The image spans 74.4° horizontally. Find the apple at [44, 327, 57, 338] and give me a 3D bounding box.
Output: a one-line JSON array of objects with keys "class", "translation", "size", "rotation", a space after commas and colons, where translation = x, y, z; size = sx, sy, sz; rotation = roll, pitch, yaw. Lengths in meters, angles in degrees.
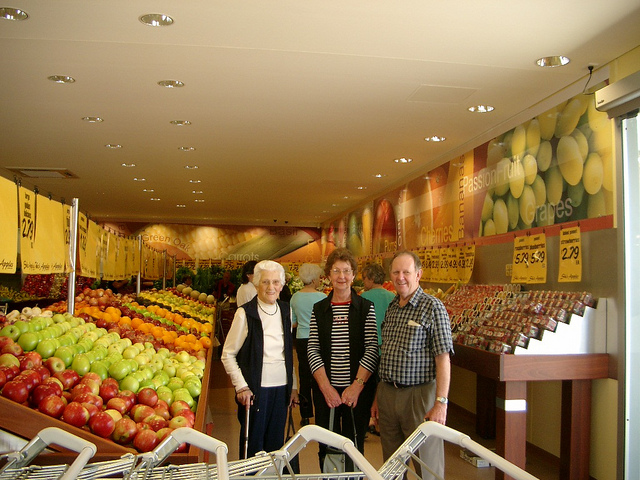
[{"class": "apple", "translation": [-1.591, 0.553, 2.506], "size": [0.065, 0.022, 0.066], "rotation": [47, -8, 41]}]

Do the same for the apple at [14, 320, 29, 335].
[{"class": "apple", "translation": [-1.652, 0.491, 2.355], "size": [0.060, 0.057, 0.060], "rotation": [0, 8, -15]}]

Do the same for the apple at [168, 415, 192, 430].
[{"class": "apple", "translation": [-0.646, 0.856, 1.956], "size": [0.093, 0.051, 0.153], "rotation": [0, -5, -2]}]

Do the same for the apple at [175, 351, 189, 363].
[{"class": "apple", "translation": [-0.962, 0.822, 2.961], "size": [0.056, 0.057, 0.057], "rotation": [-2, 10, -13]}]

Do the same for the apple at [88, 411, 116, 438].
[{"class": "apple", "translation": [-0.923, 0.791, 1.799], "size": [0.095, 0.095, 0.094], "rotation": [46, -6, -30]}]

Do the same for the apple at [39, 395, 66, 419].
[{"class": "apple", "translation": [-1.154, 0.729, 1.838], "size": [0.106, 0.092, 0.071], "rotation": [-2, -6, 22]}]

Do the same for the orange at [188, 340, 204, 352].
[{"class": "orange", "translation": [-1.072, 0.921, 3.657], "size": [0.096, 0.058, 0.077], "rotation": [-2, -1, 3]}]

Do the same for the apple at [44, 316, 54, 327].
[{"class": "apple", "translation": [-1.712, 0.520, 2.688], "size": [0.051, 0.055, 0.050], "rotation": [6, 12, 9]}]

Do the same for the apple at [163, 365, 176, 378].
[{"class": "apple", "translation": [-0.925, 0.815, 2.622], "size": [0.062, 0.065, 0.061], "rotation": [7, -26, 11]}]

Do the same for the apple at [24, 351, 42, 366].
[{"class": "apple", "translation": [-1.441, 0.602, 2.148], "size": [0.064, 0.066, 0.066], "rotation": [-1, -1, 2]}]

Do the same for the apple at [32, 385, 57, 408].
[{"class": "apple", "translation": [-1.210, 0.693, 1.874], "size": [0.079, 0.080, 0.079], "rotation": [-2, -27, -18]}]

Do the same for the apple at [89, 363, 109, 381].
[{"class": "apple", "translation": [-1.167, 0.703, 2.273], "size": [0.087, 0.074, 0.073], "rotation": [37, -60, -24]}]

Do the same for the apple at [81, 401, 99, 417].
[{"class": "apple", "translation": [-1.015, 0.752, 1.882], "size": [0.057, 0.034, 0.046], "rotation": [16, 12, 40]}]

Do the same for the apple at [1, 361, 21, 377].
[{"class": "apple", "translation": [-1.449, 0.608, 1.989], "size": [0.079, 0.060, 0.097], "rotation": [3, -6, -33]}]

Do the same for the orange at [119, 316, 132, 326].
[{"class": "orange", "translation": [-1.694, 0.703, 3.697], "size": [0.064, 0.066, 0.078], "rotation": [34, 31, 20]}]

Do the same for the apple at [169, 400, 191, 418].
[{"class": "apple", "translation": [-0.703, 0.854, 2.130], "size": [0.071, 0.073, 0.072], "rotation": [12, -30, -2]}]

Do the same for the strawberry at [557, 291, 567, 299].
[{"class": "strawberry", "translation": [1.963, 0.449, 3.426], "size": [0.021, 0.054, 0.053], "rotation": [39, -17, -21]}]

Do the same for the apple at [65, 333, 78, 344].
[{"class": "apple", "translation": [-1.470, 0.591, 2.516], "size": [0.054, 0.029, 0.056], "rotation": [2, -20, 14]}]

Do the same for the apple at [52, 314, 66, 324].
[{"class": "apple", "translation": [-1.742, 0.521, 2.838], "size": [0.057, 0.052, 0.051], "rotation": [9, 29, 19]}]

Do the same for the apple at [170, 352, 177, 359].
[{"class": "apple", "translation": [-1.033, 0.811, 2.993], "size": [0.031, 0.027, 0.026], "rotation": [1, -14, 27]}]

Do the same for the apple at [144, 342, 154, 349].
[{"class": "apple", "translation": [-1.166, 0.717, 2.892], "size": [0.041, 0.043, 0.042], "rotation": [-13, 7, -31]}]

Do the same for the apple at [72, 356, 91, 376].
[{"class": "apple", "translation": [-1.264, 0.676, 2.253], "size": [0.080, 0.105, 0.086], "rotation": [6, -19, -37]}]

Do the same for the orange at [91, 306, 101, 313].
[{"class": "orange", "translation": [-2.011, 0.634, 3.808], "size": [0.061, 0.064, 0.059], "rotation": [31, -6, -26]}]

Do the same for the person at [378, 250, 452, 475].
[{"class": "person", "translation": [0.555, 0.720, 2.600], "size": [0.223, 1.307, 0.559], "rotation": [4, -6, -36]}]

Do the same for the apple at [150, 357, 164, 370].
[{"class": "apple", "translation": [-1.014, 0.775, 2.636], "size": [0.055, 0.060, 0.059], "rotation": [8, 5, -13]}]

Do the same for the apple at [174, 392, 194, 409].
[{"class": "apple", "translation": [-0.720, 0.862, 2.286], "size": [0.069, 0.068, 0.073], "rotation": [19, -18, 26]}]

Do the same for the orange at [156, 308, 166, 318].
[{"class": "orange", "translation": [-1.733, 0.799, 4.638], "size": [0.080, 0.100, 0.079], "rotation": [-8, 16, -36]}]

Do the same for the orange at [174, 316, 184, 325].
[{"class": "orange", "translation": [-1.535, 0.883, 4.627], "size": [0.100, 0.081, 0.114], "rotation": [1, -5, -11]}]

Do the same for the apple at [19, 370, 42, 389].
[{"class": "apple", "translation": [-1.334, 0.642, 1.958], "size": [0.072, 0.070, 0.073], "rotation": [6, -10, -1]}]

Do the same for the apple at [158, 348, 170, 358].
[{"class": "apple", "translation": [-1.083, 0.791, 2.948], "size": [0.074, 0.054, 0.118], "rotation": [2, -6, -21]}]

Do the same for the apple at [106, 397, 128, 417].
[{"class": "apple", "translation": [-0.945, 0.779, 1.984], "size": [0.077, 0.081, 0.081], "rotation": [27, -16, -6]}]

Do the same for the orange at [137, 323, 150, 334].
[{"class": "orange", "translation": [-1.527, 0.768, 3.667], "size": [0.075, 0.094, 0.076], "rotation": [-2, 19, -21]}]

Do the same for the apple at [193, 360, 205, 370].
[{"class": "apple", "translation": [-0.820, 0.864, 2.897], "size": [0.052, 0.065, 0.055], "rotation": [-3, 17, -18]}]

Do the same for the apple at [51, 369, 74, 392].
[{"class": "apple", "translation": [-1.256, 0.693, 2.097], "size": [0.088, 0.095, 0.091], "rotation": [-1, -5, -9]}]

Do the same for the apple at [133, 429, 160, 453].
[{"class": "apple", "translation": [-0.742, 0.866, 1.812], "size": [0.108, 0.082, 0.065], "rotation": [2, -5, -18]}]

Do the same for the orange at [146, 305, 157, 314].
[{"class": "orange", "translation": [-1.846, 0.765, 4.644], "size": [0.072, 0.074, 0.088], "rotation": [24, 16, -28]}]

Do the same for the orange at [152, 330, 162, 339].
[{"class": "orange", "translation": [-1.385, 0.804, 3.619], "size": [0.075, 0.053, 0.083], "rotation": [2, -6, -23]}]

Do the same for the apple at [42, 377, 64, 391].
[{"class": "apple", "translation": [-1.253, 0.674, 2.015], "size": [0.079, 0.078, 0.081], "rotation": [-1, -12, -1]}]
